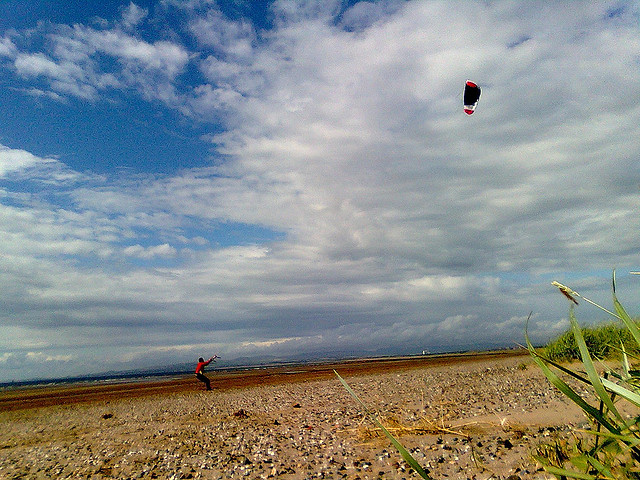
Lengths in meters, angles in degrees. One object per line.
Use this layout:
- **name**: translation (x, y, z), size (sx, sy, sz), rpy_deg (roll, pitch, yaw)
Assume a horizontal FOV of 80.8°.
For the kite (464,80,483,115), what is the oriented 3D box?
- **kite**: translation (5.930, -5.396, 14.563), size (0.626, 1.315, 0.878), rpy_deg (-13, -17, 22)
